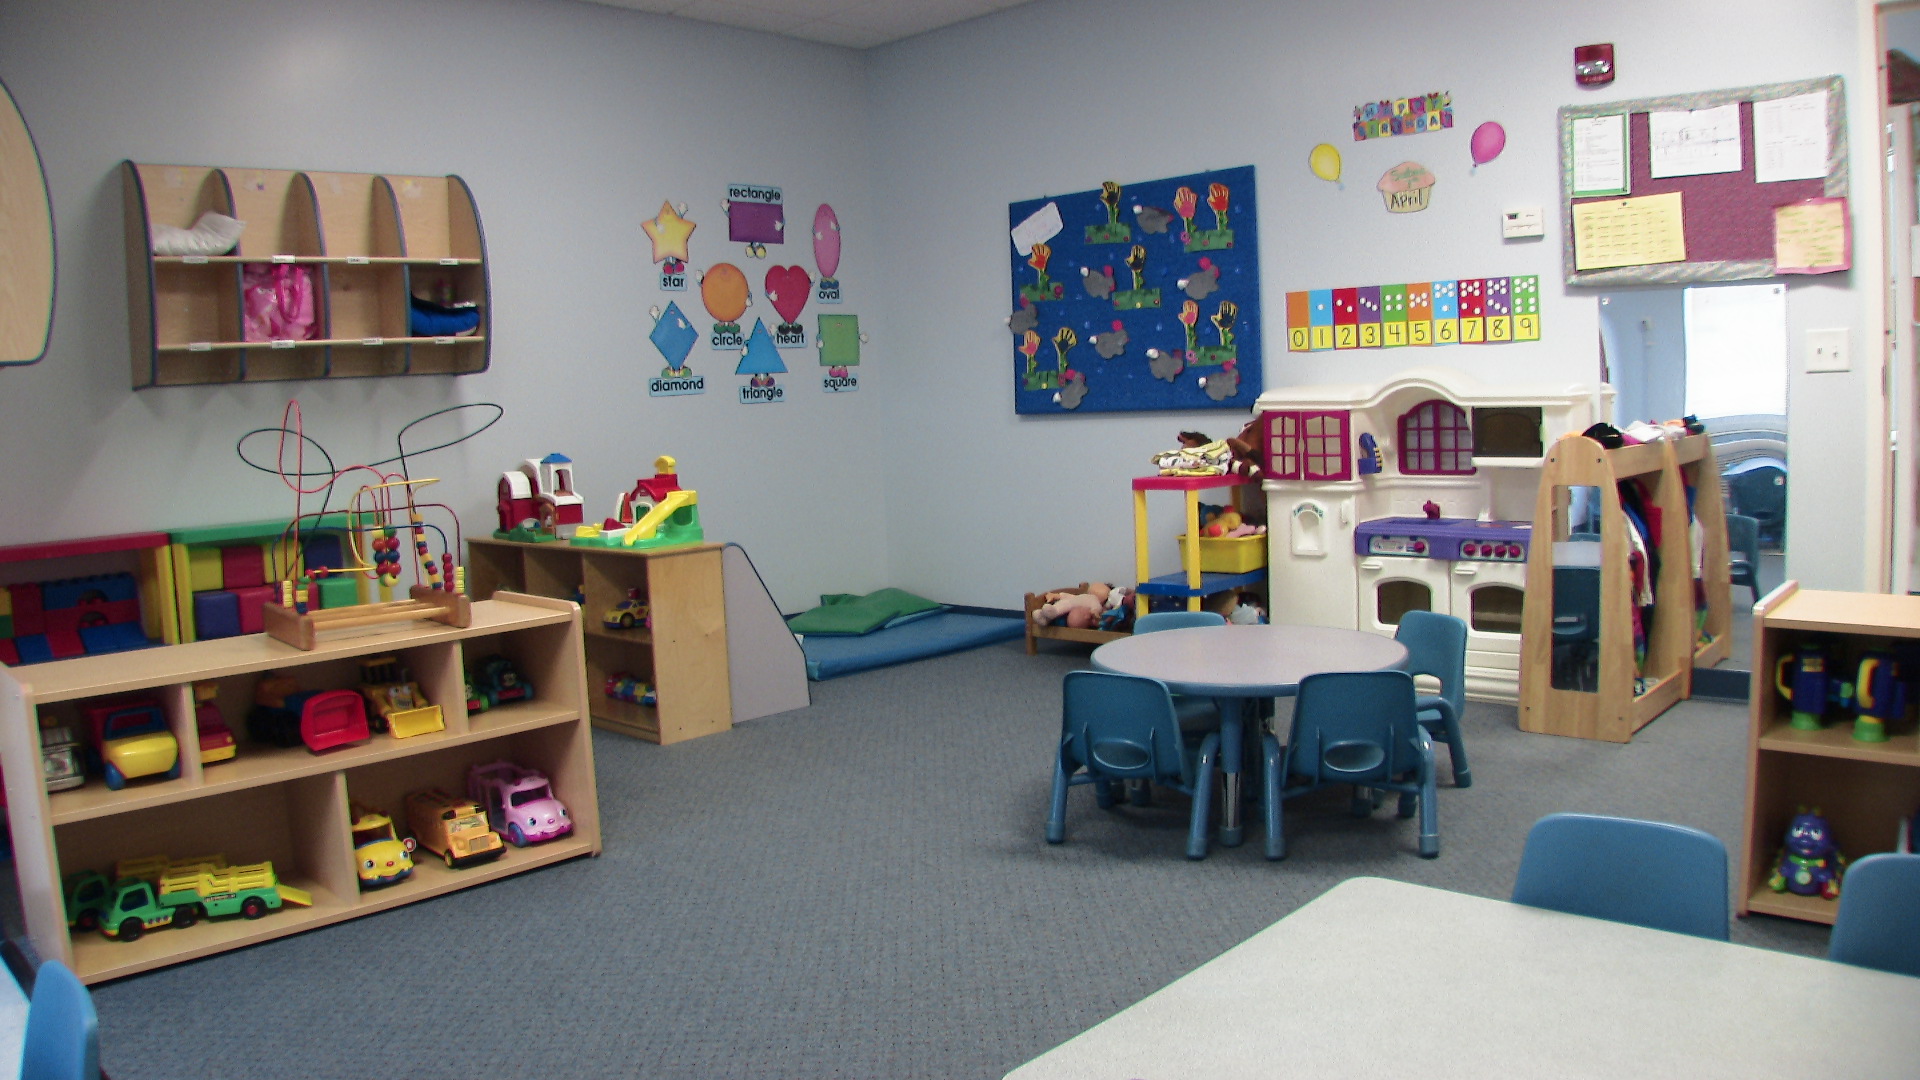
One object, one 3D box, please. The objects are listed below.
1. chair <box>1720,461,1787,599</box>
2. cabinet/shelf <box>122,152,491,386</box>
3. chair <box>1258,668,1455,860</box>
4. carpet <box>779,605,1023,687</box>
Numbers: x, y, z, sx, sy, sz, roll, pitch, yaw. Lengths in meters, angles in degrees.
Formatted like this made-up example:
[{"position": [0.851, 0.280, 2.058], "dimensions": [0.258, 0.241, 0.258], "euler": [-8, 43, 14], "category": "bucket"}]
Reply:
[{"position": [4.015, -0.052, 6.169], "dimensions": [0.186, 0.737, 0.385], "euler": [-9, 15, -15], "category": "chair"}, {"position": [-3.499, -1.392, 6.451], "dimensions": [1.401, 0.902, 0.406], "euler": [-5, 6, -41], "category": "cabinet/shelf"}, {"position": [1.558, 0.823, 4.907], "dimensions": [0.679, 0.766, 0.611], "euler": [-1, 15, 12], "category": "chair"}, {"position": [-0.344, 0.658, 7.847], "dimensions": [1.722, 0.127, 0.844], "euler": [-14, 17, -37], "category": "carpet"}]
